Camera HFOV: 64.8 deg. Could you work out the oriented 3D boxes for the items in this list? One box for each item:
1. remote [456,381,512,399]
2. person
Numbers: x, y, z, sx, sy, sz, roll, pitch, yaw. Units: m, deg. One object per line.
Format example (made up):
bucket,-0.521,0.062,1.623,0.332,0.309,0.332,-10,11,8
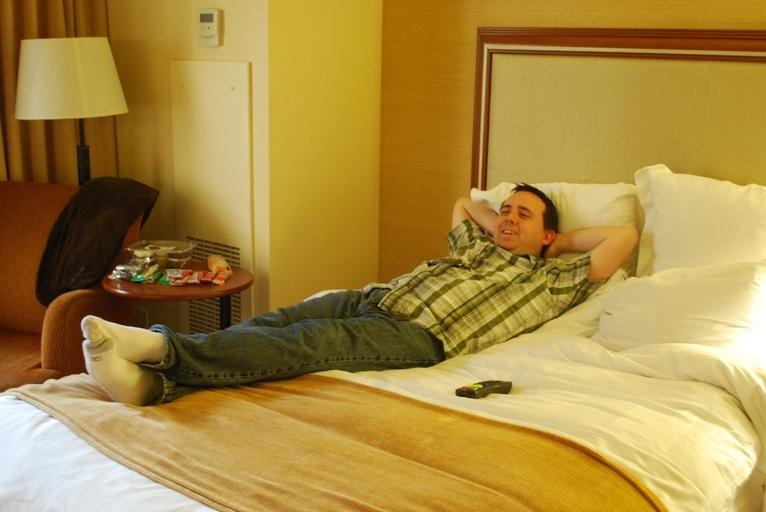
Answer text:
remote,0.350,0.445,2.052,0.128,0.038,0.072,-7,5,-29
person,0.035,0.207,2.420,2.140,0.610,0.957,-13,15,-28
